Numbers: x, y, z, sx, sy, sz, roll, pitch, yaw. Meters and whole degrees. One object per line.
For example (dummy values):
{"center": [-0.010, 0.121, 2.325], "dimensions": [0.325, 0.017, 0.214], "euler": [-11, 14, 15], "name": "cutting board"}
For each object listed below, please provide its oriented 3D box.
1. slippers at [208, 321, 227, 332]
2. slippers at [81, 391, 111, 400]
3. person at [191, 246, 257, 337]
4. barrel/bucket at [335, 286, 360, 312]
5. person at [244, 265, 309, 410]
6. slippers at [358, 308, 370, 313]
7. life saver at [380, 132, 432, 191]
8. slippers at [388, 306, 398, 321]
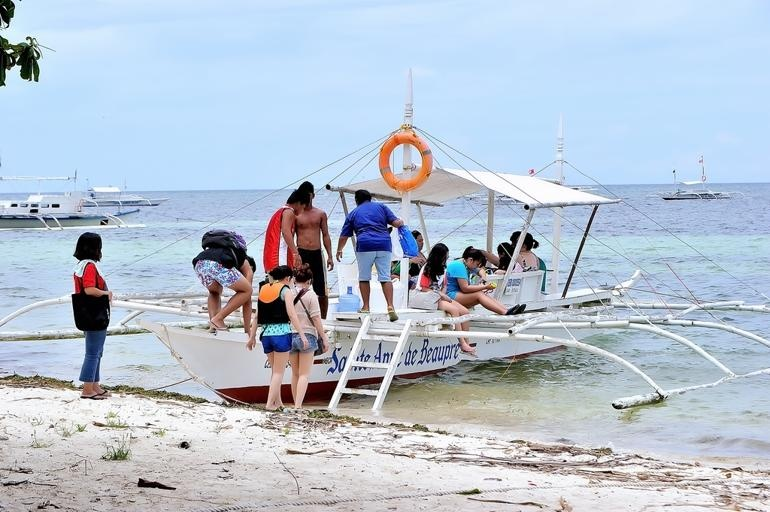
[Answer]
{"center": [-2.322, 0.958, 14.390], "dimensions": [0.253, 0.148, 0.325], "euler": [3, 8, -11], "name": "slippers"}
{"center": [-3.600, 1.727, 12.816], "dimensions": [0.321, 0.061, 0.103], "euler": [-1, 2, -3], "name": "slippers"}
{"center": [-2.269, 0.468, 14.524], "dimensions": [0.825, 1.143, 0.737], "euler": [1, -2, -15], "name": "person"}
{"center": [-0.523, 0.649, 15.442], "dimensions": [0.460, 0.352, 0.387], "euler": [-1, 2, -2], "name": "barrel/bucket"}
{"center": [-1.408, 1.076, 13.729], "dimensions": [0.677, 1.900, 0.425], "euler": [14, 12, 30], "name": "person"}
{"center": [-0.292, 0.800, 15.177], "dimensions": [0.065, 0.045, 0.132], "euler": [-1, 4, -21], "name": "slippers"}
{"center": [0.307, -1.493, 16.224], "dimensions": [0.828, 1.013, 0.553], "euler": [12, 12, 31], "name": "life saver"}
{"center": [0.120, 0.833, 14.995], "dimensions": [0.130, 0.227, 0.095], "euler": [-15, 42, 13], "name": "slippers"}
